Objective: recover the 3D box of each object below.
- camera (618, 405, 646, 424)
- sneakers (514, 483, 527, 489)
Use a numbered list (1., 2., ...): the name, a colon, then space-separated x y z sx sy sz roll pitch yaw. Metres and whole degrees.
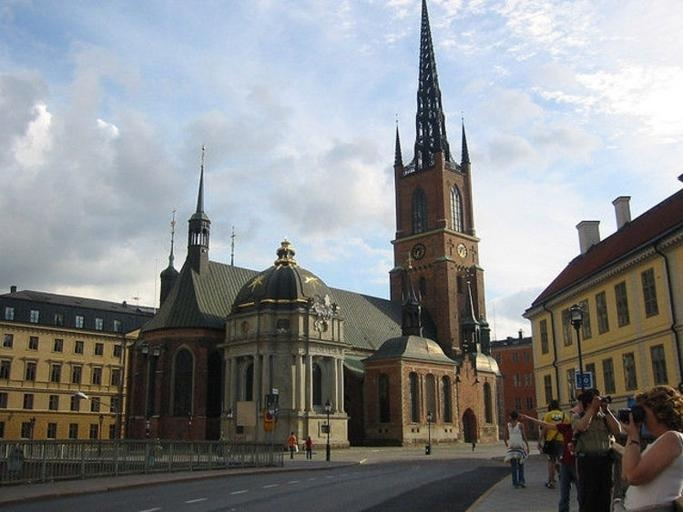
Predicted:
1. camera: 3.641 1.988 8.226 0.232 0.150 0.224 -3 -9 -1
2. sneakers: 4.975 6.447 18.359 0.390 0.167 0.133 -2 -26 2
